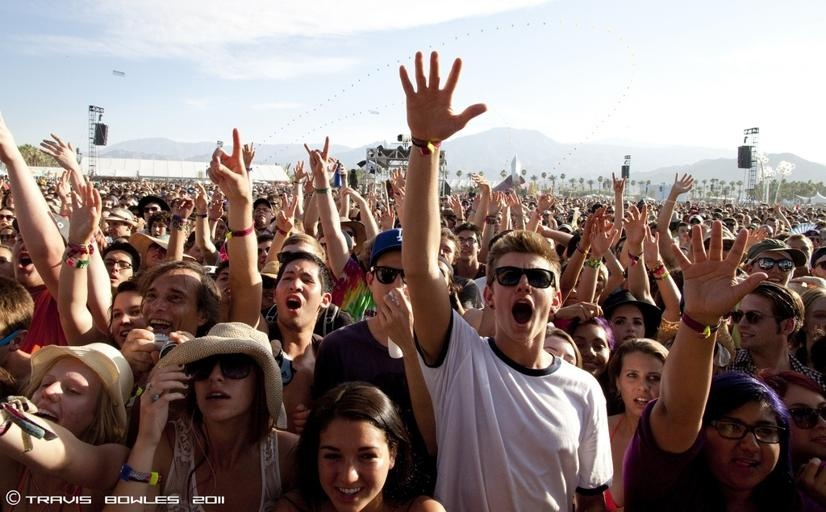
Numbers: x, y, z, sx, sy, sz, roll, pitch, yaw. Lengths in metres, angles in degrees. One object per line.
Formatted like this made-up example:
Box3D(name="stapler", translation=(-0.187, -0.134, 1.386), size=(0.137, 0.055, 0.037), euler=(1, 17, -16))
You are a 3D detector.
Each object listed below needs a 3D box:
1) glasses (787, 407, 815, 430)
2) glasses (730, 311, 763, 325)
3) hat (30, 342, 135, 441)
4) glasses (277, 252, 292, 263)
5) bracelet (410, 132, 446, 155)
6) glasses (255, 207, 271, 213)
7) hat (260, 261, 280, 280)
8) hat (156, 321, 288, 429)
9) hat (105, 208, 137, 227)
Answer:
Box3D(name="glasses", translation=(2.815, 1.163, 3.619), size=(0.170, 0.076, 0.183), euler=(6, -20, 15))
Box3D(name="glasses", translation=(3.223, 0.589, 4.816), size=(0.241, 0.094, 0.230), euler=(17, -15, -30))
Box3D(name="hat", translation=(-2.166, 0.863, 3.402), size=(0.576, 0.720, 0.312), euler=(3, 8, 11))
Box3D(name="glasses", translation=(-1.255, 0.023, 4.842), size=(0.071, 0.155, 0.114), euler=(37, 21, 27))
Box3D(name="bracelet", translation=(0.088, -0.721, 3.285), size=(0.136, 0.112, 0.149), euler=(4, 5, -7))
Box3D(name="glasses", translation=(-2.966, -0.899, 9.926), size=(0.160, 0.084, 0.222), euler=(0, -14, -3))
Box3D(name="hat", translation=(-1.624, 0.154, 5.763), size=(0.212, 0.134, 0.295), euler=(-6, -9, 28))
Box3D(name="hat", translation=(-1.327, 0.839, 3.554), size=(0.785, 0.670, 0.303), euler=(1, 9, -13))
Box3D(name="hat", translation=(-4.878, -0.659, 8.366), size=(0.429, 0.147, 0.427), euler=(23, -11, -33))
